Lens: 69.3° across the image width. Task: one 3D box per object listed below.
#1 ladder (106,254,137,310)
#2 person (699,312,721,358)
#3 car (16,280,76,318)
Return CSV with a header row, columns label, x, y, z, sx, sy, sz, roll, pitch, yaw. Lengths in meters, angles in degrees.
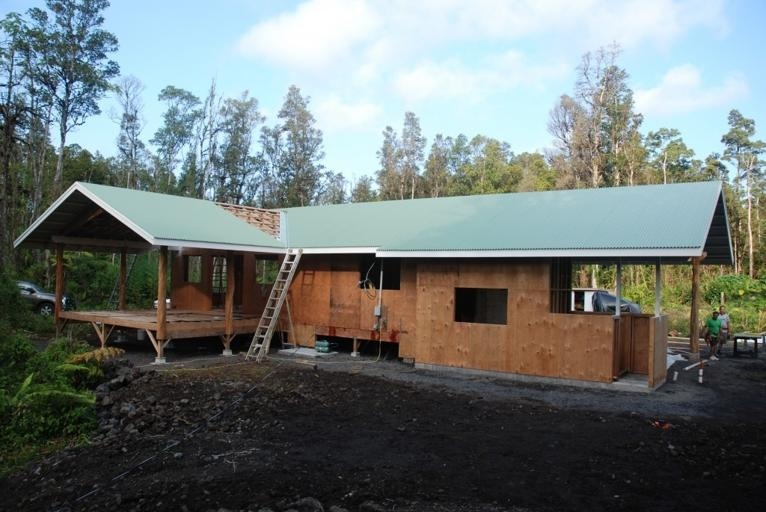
label,x,y,z,sx,sy,sz,roll,pitch,yaw
ladder,-12.208,1.303,25.879,0.360,2.814,0.311,8,-13,26
person,11.510,2.808,19.435,0.492,1.522,1.726,6,13,31
car,-14.974,1.776,24.079,1.090,1.356,2.203,-11,16,-43
